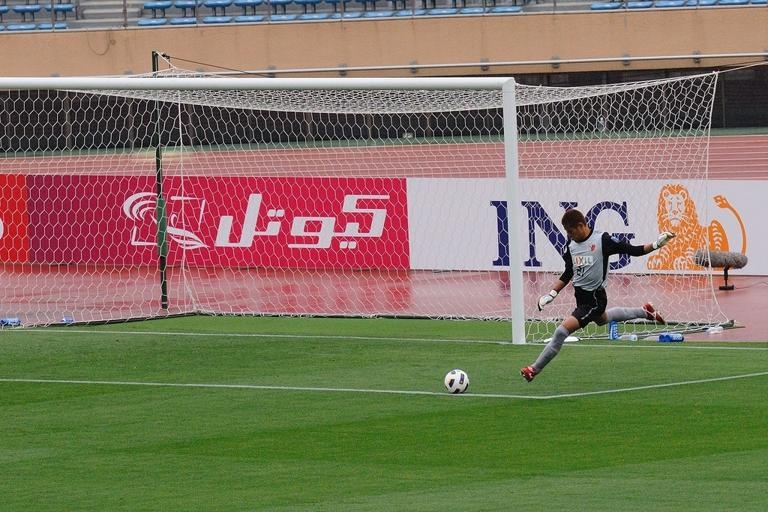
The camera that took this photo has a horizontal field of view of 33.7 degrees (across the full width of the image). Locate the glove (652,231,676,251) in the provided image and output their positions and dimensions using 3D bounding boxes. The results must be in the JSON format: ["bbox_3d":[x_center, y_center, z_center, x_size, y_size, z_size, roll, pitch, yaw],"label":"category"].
[{"bbox_3d":[3.718,-0.206,16.988,0.395,0.132,0.228,-9,0,-35],"label":"glove"}]

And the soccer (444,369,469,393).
[{"bbox_3d":[0.985,1.660,17.060,0.325,0.283,0.318,-1,13,2],"label":"soccer"}]
